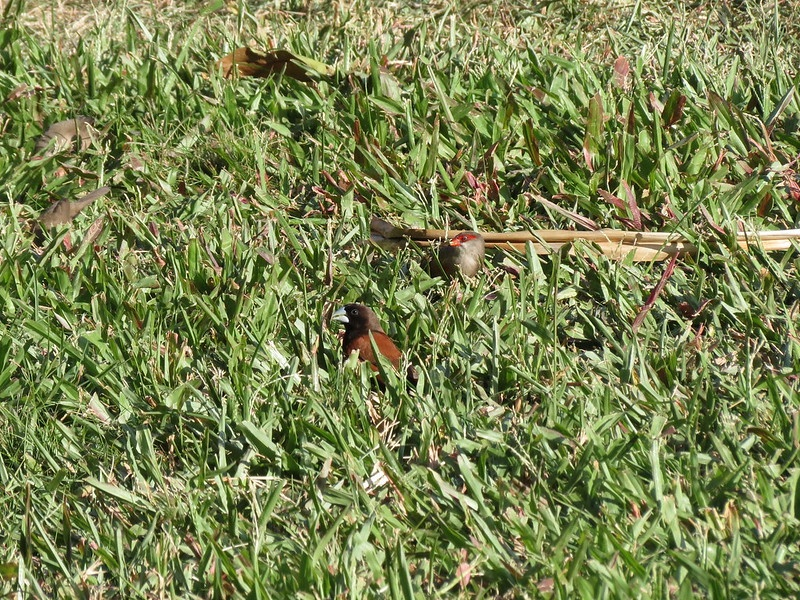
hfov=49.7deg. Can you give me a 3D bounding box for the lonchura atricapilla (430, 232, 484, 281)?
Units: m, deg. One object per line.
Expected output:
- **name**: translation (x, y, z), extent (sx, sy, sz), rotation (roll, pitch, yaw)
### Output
- **lonchura atricapilla**: translation (0.236, -0.195, 3.594), extent (0.196, 0.219, 0.154), rotation (11, 5, -21)

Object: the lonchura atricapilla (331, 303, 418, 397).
- **lonchura atricapilla**: translation (-0.067, 0.229, 3.232), extent (0.360, 0.192, 0.357), rotation (11, 78, 1)
